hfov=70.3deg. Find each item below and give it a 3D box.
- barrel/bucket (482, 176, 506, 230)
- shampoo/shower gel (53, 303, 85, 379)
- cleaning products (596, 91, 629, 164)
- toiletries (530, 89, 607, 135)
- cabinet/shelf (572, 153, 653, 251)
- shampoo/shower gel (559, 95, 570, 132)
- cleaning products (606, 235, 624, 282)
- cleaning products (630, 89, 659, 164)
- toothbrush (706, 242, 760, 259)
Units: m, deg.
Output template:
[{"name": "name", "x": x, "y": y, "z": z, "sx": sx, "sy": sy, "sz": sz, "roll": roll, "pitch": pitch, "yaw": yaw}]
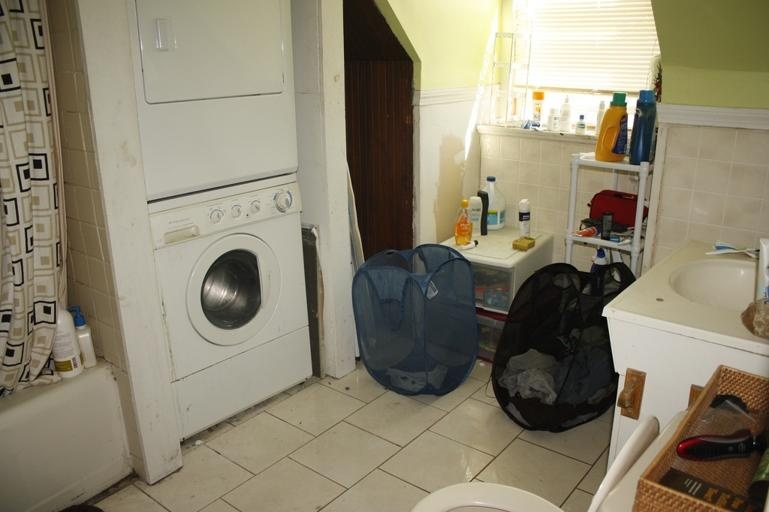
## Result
[{"name": "barrel/bucket", "x": 0.720, "y": -0.353, "z": 3.740, "sx": 0.180, "sy": 0.350, "sz": 0.196, "roll": -2, "pitch": 17, "yaw": 1}, {"name": "shampoo/shower gel", "x": -1.448, "y": 0.384, "z": 2.479, "sx": 0.101, "sy": 0.331, "sz": 0.104, "roll": 1, "pitch": 12, "yaw": 35}, {"name": "cleaning products", "x": 1.283, "y": -0.713, "z": 3.067, "sx": 0.175, "sy": 0.391, "sz": 0.149, "roll": -6, "pitch": 26, "yaw": -10}, {"name": "toiletries", "x": 1.199, "y": -0.948, "z": 3.598, "sx": 0.575, "sy": 0.399, "sz": 0.322, "roll": 10, "pitch": 18, "yaw": 28}, {"name": "cabinet/shelf", "x": 1.312, "y": -0.340, "z": 3.230, "sx": 0.434, "sy": 0.528, "sz": 0.559, "roll": 8, "pitch": 20, "yaw": 22}, {"name": "shampoo/shower gel", "x": 1.159, "y": -0.914, "z": 3.523, "sx": 0.074, "sy": 0.216, "sz": 0.147, "roll": 6, "pitch": 20, "yaw": 18}, {"name": "cleaning products", "x": 1.405, "y": 0.009, "z": 3.344, "sx": 0.161, "sy": 0.300, "sz": 0.100, "roll": 2, "pitch": 0, "yaw": 37}, {"name": "cleaning products", "x": 1.397, "y": -0.693, "z": 2.963, "sx": 0.108, "sy": 0.381, "sz": 0.108, "roll": 6, "pitch": 19, "yaw": 16}, {"name": "toothbrush", "x": 1.595, "y": -0.030, "z": 2.522, "sx": 0.191, "sy": 0.048, "sz": 0.138, "roll": 12, "pitch": 22, "yaw": 30}]
